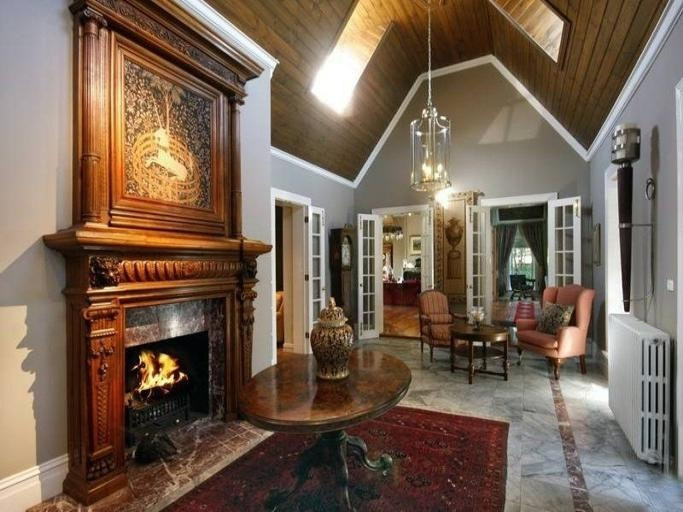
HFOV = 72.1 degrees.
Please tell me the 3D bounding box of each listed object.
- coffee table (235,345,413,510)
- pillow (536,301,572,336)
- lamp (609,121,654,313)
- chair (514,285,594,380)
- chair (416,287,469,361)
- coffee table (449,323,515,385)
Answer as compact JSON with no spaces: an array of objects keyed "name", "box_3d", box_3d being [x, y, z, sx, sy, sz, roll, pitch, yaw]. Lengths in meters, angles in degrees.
[{"name":"coffee table","box_3d":[-0.186,1.215,3.483,1.063,0.771,1.041,-11,11,-43]},{"name":"pillow","box_3d":[2.831,0.814,6.249,0.106,0.381,0.375,20,0,-11]},{"name":"lamp","box_3d":[2.813,-0.361,4.604,0.241,1.958,0.504,-2,-1,34]},{"name":"chair","box_3d":[2.842,0.987,6.703,0.996,1.691,1.108,5,-5,-23]},{"name":"chair","box_3d":[1.398,0.956,7.118,0.726,1.255,0.858,1,-4,-11]},{"name":"coffee table","box_3d":[1.783,1.158,6.104,0.667,0.766,0.793,-3,5,-20]}]
